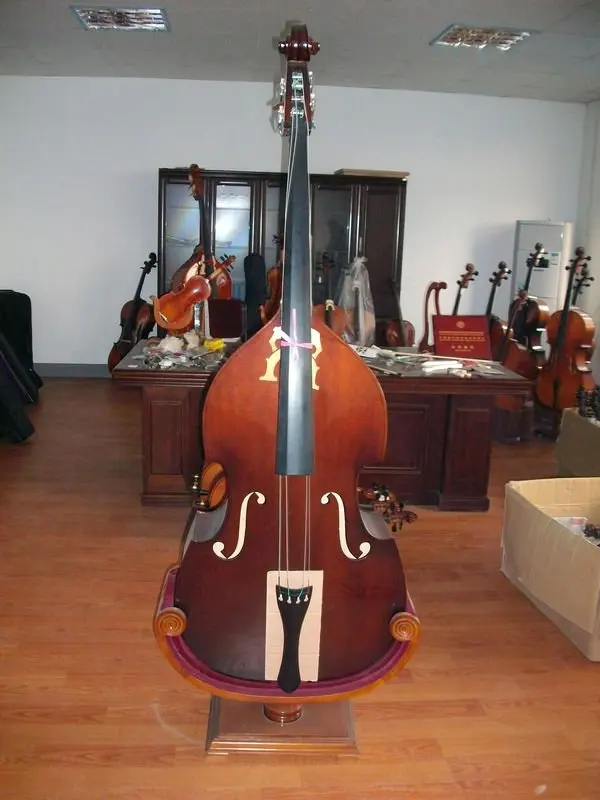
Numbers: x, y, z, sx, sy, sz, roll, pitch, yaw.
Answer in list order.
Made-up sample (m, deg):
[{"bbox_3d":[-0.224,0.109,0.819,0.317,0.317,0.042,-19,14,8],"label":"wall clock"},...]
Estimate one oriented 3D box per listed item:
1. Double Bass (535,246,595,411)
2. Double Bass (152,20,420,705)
[{"bbox_3d":[1.908,-0.469,4.696,0.265,1.157,0.361,-3,15,-21],"label":"Double Bass"},{"bbox_3d":[-0.013,-0.029,1.417,0.572,1.443,0.342,2,14,-3],"label":"Double Bass"}]
